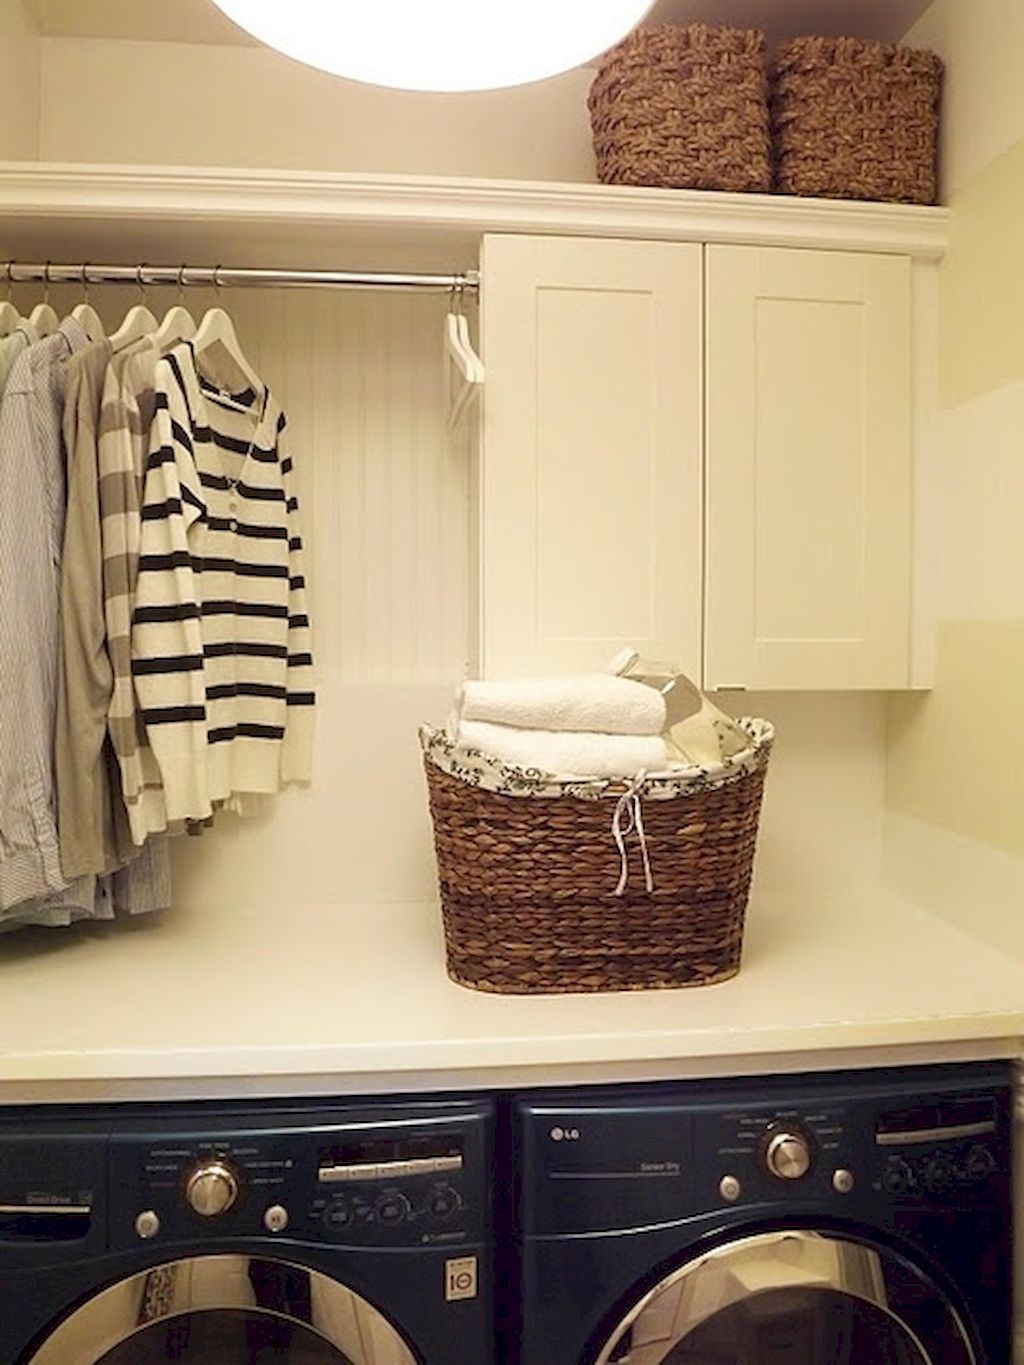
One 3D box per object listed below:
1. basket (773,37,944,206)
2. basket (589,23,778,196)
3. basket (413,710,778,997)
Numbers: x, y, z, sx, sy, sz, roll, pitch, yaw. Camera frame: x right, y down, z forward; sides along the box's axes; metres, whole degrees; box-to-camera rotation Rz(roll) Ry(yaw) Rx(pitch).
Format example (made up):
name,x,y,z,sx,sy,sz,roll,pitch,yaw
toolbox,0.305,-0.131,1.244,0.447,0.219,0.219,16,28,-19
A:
name,x,y,z,sx,sy,sz,roll,pitch,yaw
basket,0.523,-0.863,1.880,0.261,0.207,0.153,21,18,22
basket,0.246,-0.821,1.880,0.221,0.187,0.263,-1,2,-12
basket,0.113,0.231,1.693,0.448,0.323,0.297,0,3,-9
